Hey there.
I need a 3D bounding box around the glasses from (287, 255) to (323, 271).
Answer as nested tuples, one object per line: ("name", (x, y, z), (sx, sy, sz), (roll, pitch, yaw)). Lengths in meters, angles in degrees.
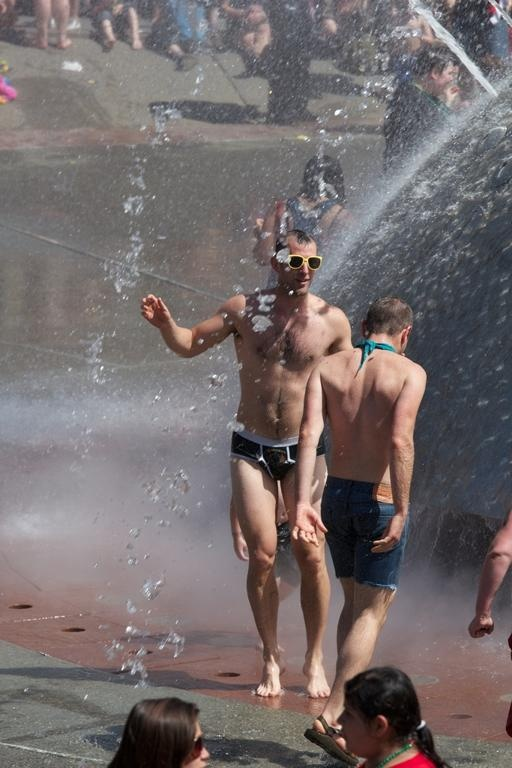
("glasses", (0.149, -0.403, 3.279), (0.079, 0.026, 0.069), (3, -1, -30))
